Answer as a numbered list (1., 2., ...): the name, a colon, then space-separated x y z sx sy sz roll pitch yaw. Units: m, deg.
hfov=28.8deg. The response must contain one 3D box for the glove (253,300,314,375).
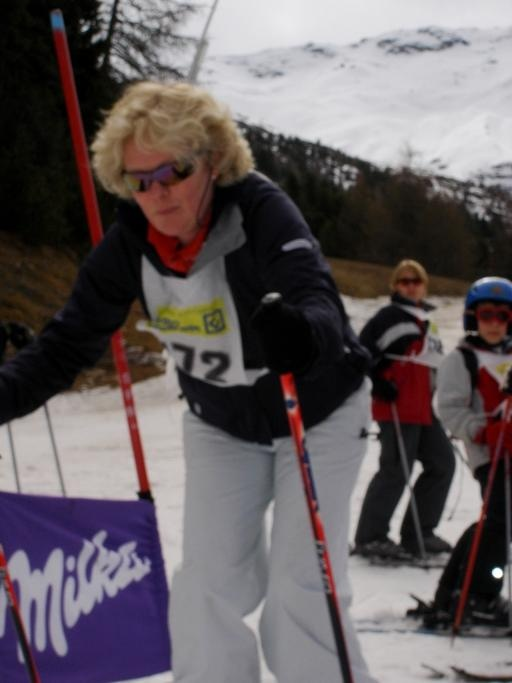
1. glove: 0.062 -0.013 2.211 0.142 0.187 0.047 -5 10 -27

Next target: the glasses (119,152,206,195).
1. glasses: -0.242 -0.423 2.536 0.185 0.088 0.062 -1 8 -4

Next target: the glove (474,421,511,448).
1. glove: 0.935 0.369 3.927 0.049 0.110 0.118 14 -3 -41
